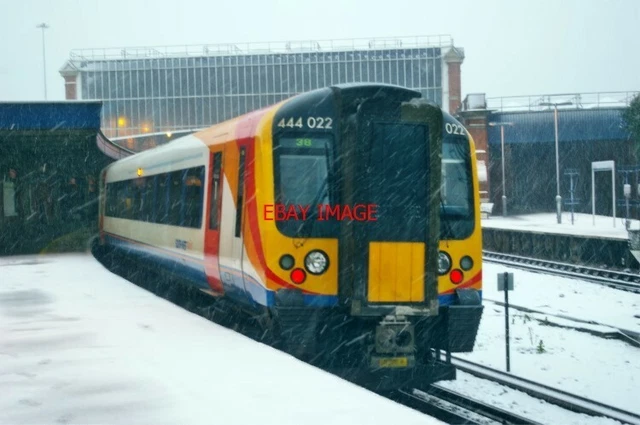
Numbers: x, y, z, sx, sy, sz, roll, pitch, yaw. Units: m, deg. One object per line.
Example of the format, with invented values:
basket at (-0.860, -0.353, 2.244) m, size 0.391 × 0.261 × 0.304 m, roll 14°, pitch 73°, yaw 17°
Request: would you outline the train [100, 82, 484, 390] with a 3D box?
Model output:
train at (-3.109, 0.272, 17.042) m, size 3.305 × 5.529 × 16.031 m, roll 2°, pitch 1°, yaw -32°
